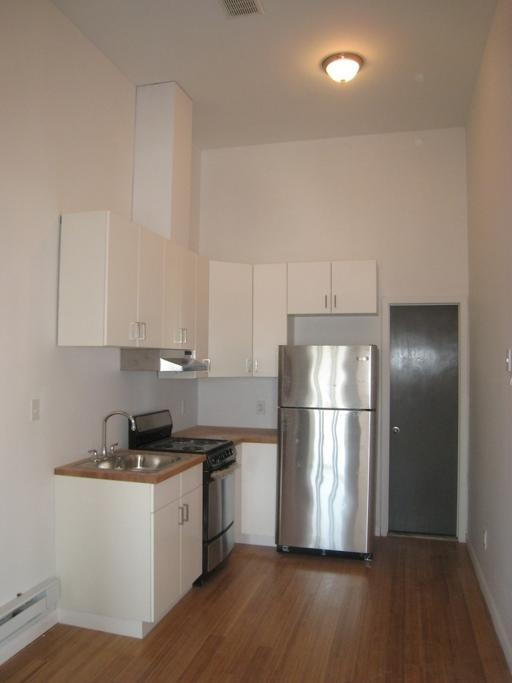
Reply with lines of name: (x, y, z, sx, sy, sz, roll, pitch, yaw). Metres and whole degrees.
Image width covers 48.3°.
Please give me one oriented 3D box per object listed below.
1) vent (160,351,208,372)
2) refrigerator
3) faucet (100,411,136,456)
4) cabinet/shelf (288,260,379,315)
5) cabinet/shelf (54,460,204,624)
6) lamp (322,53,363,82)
vent: (-0.483, 0.131, 3.877, 0.123, 0.137, 0.579, 0, -1, 14)
refrigerator: (0.506, 0.736, 4.233, 0.705, 1.712, 0.604, -1, 20, 1)
faucet: (-0.829, 0.564, 3.418, 0.210, 0.121, 0.325, 1, 41, -15)
cabinet/shelf: (0.588, -0.470, 4.477, 0.685, 0.448, 0.257, 0, 29, 11)
cabinet/shelf: (-0.683, 1.126, 3.279, 0.586, 0.816, 0.821, -1, -4, 19)
lamp: (0.526, -1.670, 3.530, 0.259, 0.159, 0.227, 0, 0, 10)
